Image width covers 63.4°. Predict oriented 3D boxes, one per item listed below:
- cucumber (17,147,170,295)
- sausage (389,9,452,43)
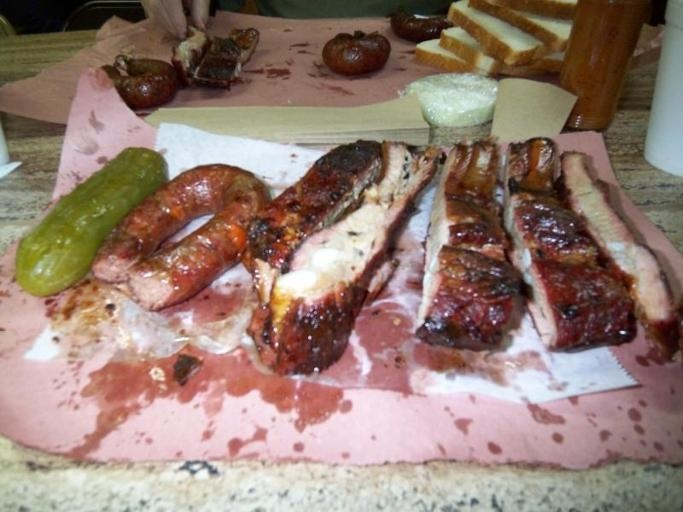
[{"bbox_3d":[-0.796,-0.092,1.867,0.250,0.189,0.576,35,61,5],"label":"cucumber"},{"bbox_3d":[0.441,-1.295,3.137,0.305,0.119,0.167,19,100,29],"label":"sausage"}]
